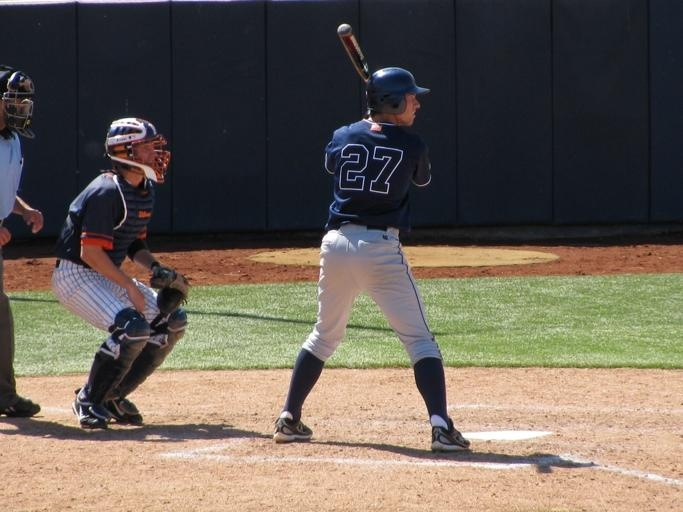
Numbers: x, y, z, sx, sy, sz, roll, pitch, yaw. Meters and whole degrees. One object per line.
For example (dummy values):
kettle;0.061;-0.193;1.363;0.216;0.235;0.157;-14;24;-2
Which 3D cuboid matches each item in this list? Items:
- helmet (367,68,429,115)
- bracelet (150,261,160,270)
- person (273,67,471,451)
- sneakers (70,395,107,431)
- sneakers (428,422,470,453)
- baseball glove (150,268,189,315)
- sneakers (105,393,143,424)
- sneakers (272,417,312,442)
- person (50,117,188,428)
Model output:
helmet;0.418;-1.295;8.378;0.488;0.279;0.295;-6;14;-2
bracelet;-1.490;0.071;8.649;0.052;0.069;0.069;38;-17;14
person;0.248;0.024;8.211;1.370;2.822;0.977;0;13;3
sneakers;-1.983;1.242;8.504;0.291;0.222;0.111;4;14;23
sneakers;0.809;1.376;8.135;0.140;0.165;0.390;1;-1;43
baseball glove;-1.369;0.241;8.690;0.289;0.371;0.154;23;38;25
sneakers;-1.766;1.241;8.733;0.409;0.160;0.131;10;15;-7
sneakers;-0.321;1.335;8.343;0.361;0.161;0.133;3;3;-37
person;-1.756;0.136;8.636;0.991;2.399;0.734;-7;15;-24
